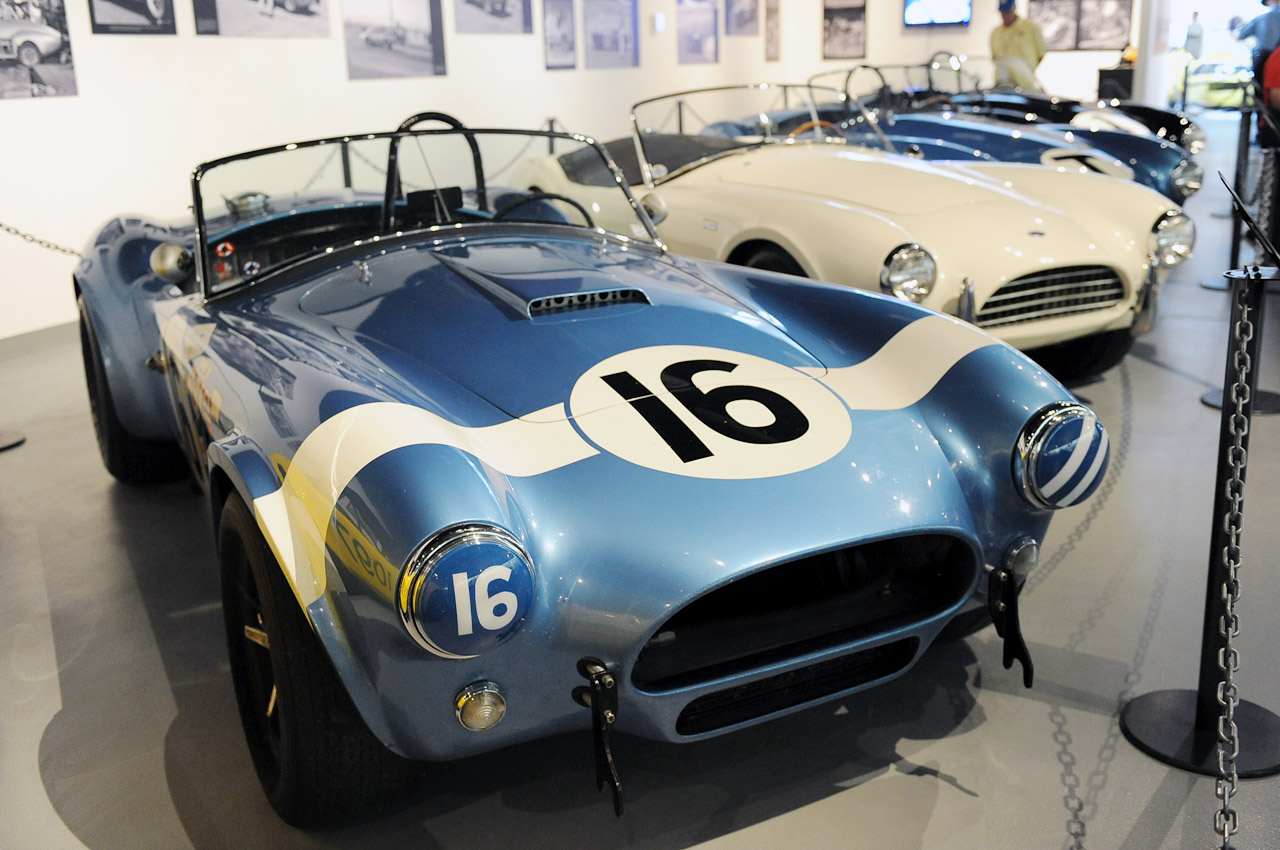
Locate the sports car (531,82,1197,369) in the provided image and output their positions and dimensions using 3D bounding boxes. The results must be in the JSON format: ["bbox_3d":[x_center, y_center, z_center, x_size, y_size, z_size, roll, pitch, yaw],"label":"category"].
[{"bbox_3d":[0.858,-0.944,4.331,2.590,0.936,1.536,21,28,40],"label":"sports car"}]

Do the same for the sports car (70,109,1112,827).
[{"bbox_3d":[-0.634,-0.204,3.653,2.495,1.434,4.123,-8,23,-33],"label":"sports car"}]
